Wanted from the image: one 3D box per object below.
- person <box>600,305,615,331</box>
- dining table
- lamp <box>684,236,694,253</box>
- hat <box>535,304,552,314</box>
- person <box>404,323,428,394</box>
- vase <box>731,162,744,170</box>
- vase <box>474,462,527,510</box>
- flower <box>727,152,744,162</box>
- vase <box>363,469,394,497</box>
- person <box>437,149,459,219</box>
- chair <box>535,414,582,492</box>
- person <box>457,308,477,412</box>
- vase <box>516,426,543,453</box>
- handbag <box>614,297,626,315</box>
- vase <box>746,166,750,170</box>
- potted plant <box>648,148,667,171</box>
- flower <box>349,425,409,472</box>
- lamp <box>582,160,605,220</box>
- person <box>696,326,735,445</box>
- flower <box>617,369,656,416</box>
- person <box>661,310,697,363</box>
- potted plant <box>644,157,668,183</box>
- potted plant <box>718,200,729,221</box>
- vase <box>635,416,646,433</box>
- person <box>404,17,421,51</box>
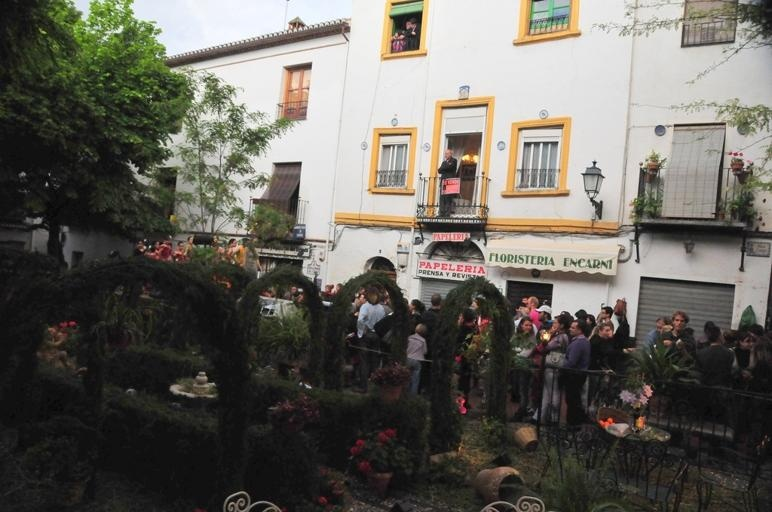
[{"bbox_3d":[5.120,1.456,15.368,0.341,0.708,0.722,7,0,12],"label":"person"},{"bbox_3d":[4.375,3.393,11.562,1.108,0.877,1.105,2,-7,-5],"label":"dining table"},{"bbox_3d":[7.852,-0.252,17.197,0.244,0.320,0.154,4,-1,26],"label":"lamp"},{"bbox_3d":[3.908,1.343,16.512,0.497,0.280,0.369,5,-7,-2],"label":"hat"},{"bbox_3d":[0.674,2.280,14.558,0.409,1.423,0.932,4,-1,4],"label":"person"},{"bbox_3d":[8.685,-2.216,16.456,0.205,0.153,0.206,2,-2,-30],"label":"vase"},{"bbox_3d":[1.822,3.753,10.831,0.557,0.661,0.681,-4,-9,17],"label":"vase"},{"bbox_3d":[8.855,-2.516,16.775,0.365,0.307,0.624,4,-1,21],"label":"flower"},{"bbox_3d":[-0.123,3.826,11.154,0.379,0.303,0.394,0,-10,8],"label":"vase"},{"bbox_3d":[1.902,-2.301,20.692,0.561,1.969,0.799,4,-1,18],"label":"person"},{"bbox_3d":[3.070,3.392,11.905,0.733,0.921,2.183,4,-1,14],"label":"chair"},{"bbox_3d":[1.751,2.143,14.375,0.401,2.580,0.435,1,-1,4],"label":"person"},{"bbox_3d":[2.666,3.428,12.481,0.379,0.406,0.277,-2,5,-4],"label":"vase"},{"bbox_3d":[6.142,1.346,17.419,0.289,0.481,0.255,12,-21,17],"label":"handbag"},{"bbox_3d":[8.916,-2.161,16.319,0.086,0.087,0.206,4,-1,20],"label":"vase"},{"bbox_3d":[7.196,-2.558,17.741,0.483,0.566,0.479,3,-7,11],"label":"potted plant"},{"bbox_3d":[-0.095,3.346,11.236,0.764,0.508,0.803,3,-2,-1],"label":"flower"},{"bbox_3d":[5.656,-1.823,18.209,0.535,1.380,0.694,4,-1,26],"label":"lamp"},{"bbox_3d":[6.356,2.302,12.868,0.647,1.646,1.248,4,-1,29],"label":"person"},{"bbox_3d":[4.663,2.550,12.291,0.707,0.917,0.676,2,-23,-4],"label":"flower"},{"bbox_3d":[6.143,1.731,13.917,0.507,1.039,0.559,-14,-42,41],"label":"person"},{"bbox_3d":[7.159,-2.261,17.716,0.606,0.628,0.563,5,-17,15],"label":"potted plant"},{"bbox_3d":[8.497,-1.133,16.813,0.090,0.442,0.270,5,-1,-30],"label":"potted plant"},{"bbox_3d":[4.516,3.013,11.837,0.227,0.277,0.235,1,-4,-2],"label":"vase"},{"bbox_3d":[0.847,-7.298,21.817,0.521,1.048,0.285,4,-1,2],"label":"person"}]
